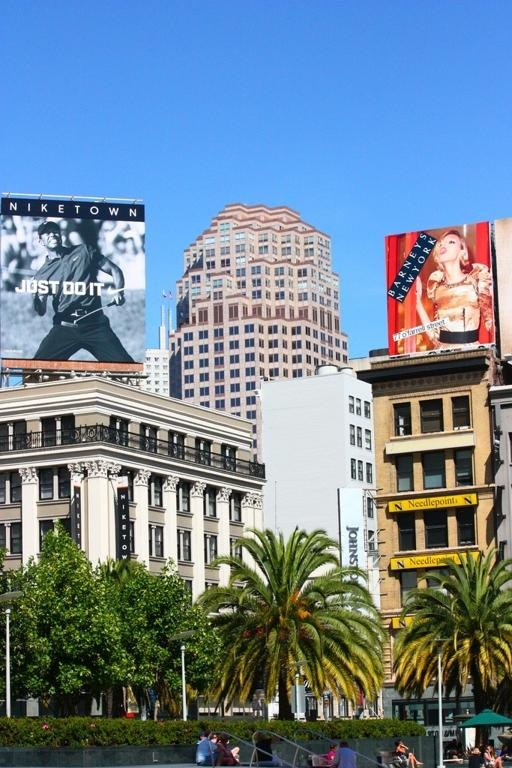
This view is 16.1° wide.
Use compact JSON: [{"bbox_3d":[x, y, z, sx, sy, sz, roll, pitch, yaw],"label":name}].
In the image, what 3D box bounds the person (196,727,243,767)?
[{"bbox_3d":[-1.283,12.434,60.881,1.454,1.643,1.151,-4,-4,-6],"label":"person"}]
